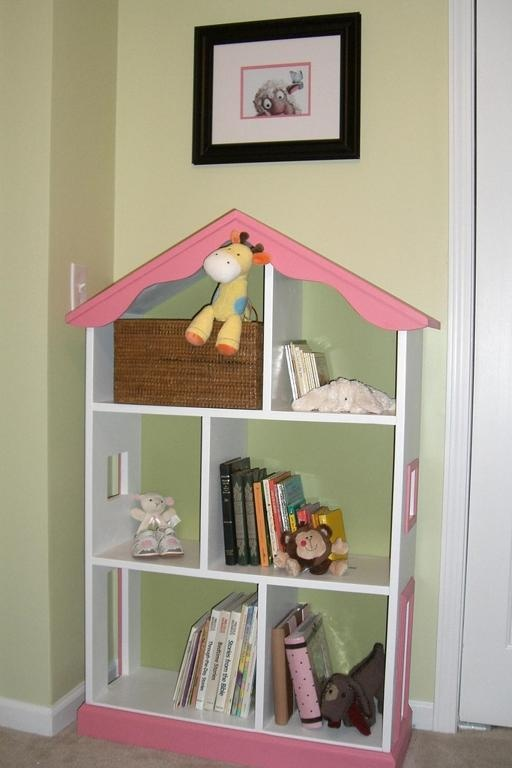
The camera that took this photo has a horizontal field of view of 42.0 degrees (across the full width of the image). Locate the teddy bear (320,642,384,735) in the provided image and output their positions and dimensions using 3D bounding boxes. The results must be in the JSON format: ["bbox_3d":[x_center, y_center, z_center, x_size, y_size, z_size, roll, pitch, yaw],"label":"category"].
[{"bbox_3d":[0.239,0.709,1.543,0.116,0.143,0.210,4,5,41],"label":"teddy bear"}]

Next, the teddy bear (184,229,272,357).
[{"bbox_3d":[-0.058,-0.209,1.456,0.119,0.229,0.195,20,33,23],"label":"teddy bear"}]

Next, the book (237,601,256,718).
[{"bbox_3d":[-0.020,0.653,1.538,0.041,0.189,0.176,3,2,5],"label":"book"}]

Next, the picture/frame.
[{"bbox_3d":[0.073,-0.780,1.738,0.407,0.365,0.036,1,4,17],"label":"picture/frame"}]

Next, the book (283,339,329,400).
[{"bbox_3d":[0.109,-0.030,1.532,0.045,0.130,0.129,-10,3,25],"label":"book"}]

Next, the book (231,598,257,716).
[{"bbox_3d":[-0.024,0.648,1.550,0.044,0.201,0.184,5,3,7],"label":"book"}]

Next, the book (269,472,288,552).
[{"bbox_3d":[0.049,0.302,1.537,0.025,0.182,0.154,-2,2,9],"label":"book"}]

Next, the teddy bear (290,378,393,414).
[{"bbox_3d":[0.192,0.025,1.446,0.228,0.070,0.128,1,4,1],"label":"teddy bear"}]

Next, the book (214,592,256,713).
[{"bbox_3d":[-0.059,0.635,1.566,0.045,0.206,0.191,9,1,10],"label":"book"}]

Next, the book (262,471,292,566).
[{"bbox_3d":[0.046,0.318,1.535,0.026,0.206,0.174,-4,5,10],"label":"book"}]
